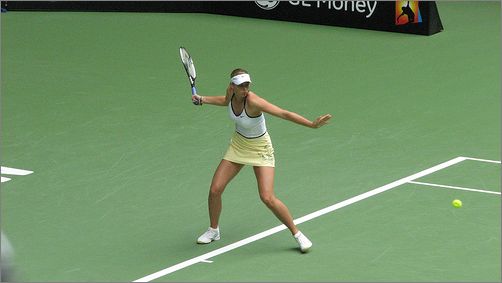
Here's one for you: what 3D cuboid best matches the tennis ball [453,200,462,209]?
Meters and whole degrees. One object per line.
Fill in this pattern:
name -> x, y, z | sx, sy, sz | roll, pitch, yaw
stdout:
tennis ball -> 4.339, 1.314, 9.913 | 0.175, 0.173, 0.171 | 16, -22, 7

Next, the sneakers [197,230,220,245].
sneakers -> -0.846, 1.900, 9.328 | 0.500, 0.226, 0.207 | -16, 33, -24

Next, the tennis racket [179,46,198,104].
tennis racket -> -1.358, -1.550, 10.168 | 0.427, 1.587, 0.121 | -9, -21, -11

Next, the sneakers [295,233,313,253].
sneakers -> 0.947, 1.896, 9.028 | 0.211, 0.213, 0.496 | -41, 24, 4
